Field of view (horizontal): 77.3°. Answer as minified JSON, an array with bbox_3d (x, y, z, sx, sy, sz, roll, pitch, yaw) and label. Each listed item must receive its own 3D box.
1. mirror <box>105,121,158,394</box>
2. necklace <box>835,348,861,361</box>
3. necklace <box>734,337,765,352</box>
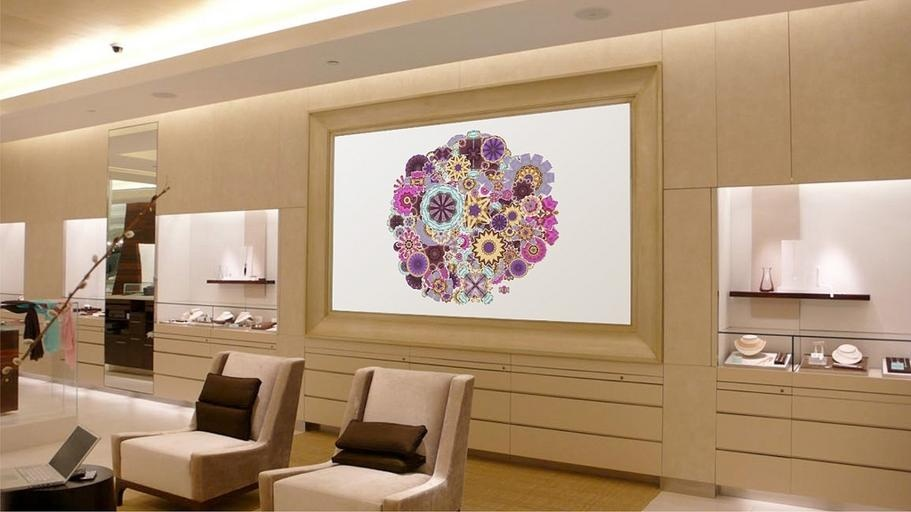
[{"bbox_3d":[-5.818,0.524,10.288,1.112,4.067,0.072,8,8,22],"label":"mirror"},{"bbox_3d":[4.591,1.170,6.689,0.207,0.047,0.195,-11,6,-25],"label":"necklace"},{"bbox_3d":[3.579,1.094,6.935,0.326,0.139,0.189,-1,-1,29],"label":"necklace"}]
